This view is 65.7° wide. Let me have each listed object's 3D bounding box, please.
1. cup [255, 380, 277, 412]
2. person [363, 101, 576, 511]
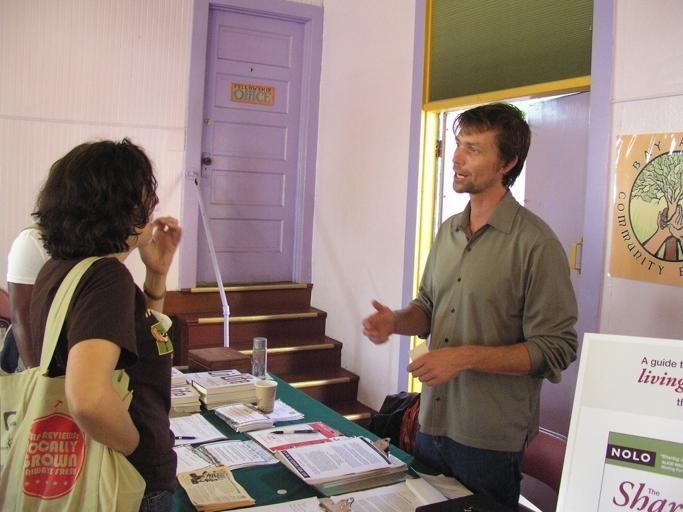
[{"bbox_3d":[-0.312,0.589,2.214,0.102,0.108,0.098,6,-5,0],"label":"cup"},{"bbox_3d":[0.468,0.158,1.901,0.599,1.431,0.672,-4,13,-35],"label":"person"}]
